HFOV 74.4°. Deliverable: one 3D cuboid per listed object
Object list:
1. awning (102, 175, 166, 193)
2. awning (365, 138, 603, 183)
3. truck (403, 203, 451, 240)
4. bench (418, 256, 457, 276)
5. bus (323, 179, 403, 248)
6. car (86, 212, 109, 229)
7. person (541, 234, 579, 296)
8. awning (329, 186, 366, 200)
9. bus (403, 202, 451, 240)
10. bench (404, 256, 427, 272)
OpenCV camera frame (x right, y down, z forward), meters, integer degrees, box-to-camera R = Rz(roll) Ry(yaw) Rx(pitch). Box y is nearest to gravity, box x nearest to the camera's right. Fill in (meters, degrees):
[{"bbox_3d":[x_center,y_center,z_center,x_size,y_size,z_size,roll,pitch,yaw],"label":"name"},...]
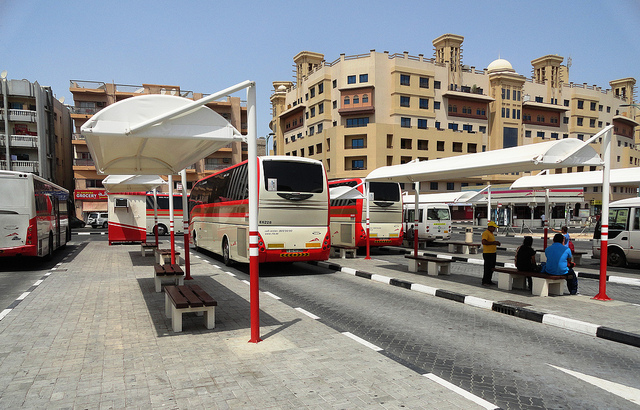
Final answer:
[{"bbox_3d":[-10.429,-1.136,23.492,2.866,1.263,4.089,-4,9,-28],"label":"awning"},{"bbox_3d":[5.446,-1.538,16.101,3.011,1.840,8.630,-4,9,-29],"label":"awning"},{"bbox_3d":[7.405,1.306,31.240,2.836,2.462,5.170,-1,-2,-12],"label":"truck"},{"bbox_3d":[4.746,2.417,16.760,1.327,0.754,0.804,-1,9,-13],"label":"bench"},{"bbox_3d":[1.514,0.475,26.891,3.360,4.218,9.519,2,-1,-21],"label":"bus"},{"bbox_3d":[-27.208,1.935,51.453,2.034,1.694,3.401,-1,6,-26],"label":"car"},{"bbox_3d":[7.723,1.889,13.505,1.005,1.906,0.623,-1,9,-12],"label":"person"},{"bbox_3d":[1.371,-0.588,21.658,1.804,0.714,1.391,1,8,1],"label":"awning"},{"bbox_3d":[7.845,1.130,28.532,2.603,2.022,4.607,1,1,-19],"label":"bus"},{"bbox_3d":[3.982,2.429,17.472,0.729,0.445,0.739,1,-1,36],"label":"bench"}]
